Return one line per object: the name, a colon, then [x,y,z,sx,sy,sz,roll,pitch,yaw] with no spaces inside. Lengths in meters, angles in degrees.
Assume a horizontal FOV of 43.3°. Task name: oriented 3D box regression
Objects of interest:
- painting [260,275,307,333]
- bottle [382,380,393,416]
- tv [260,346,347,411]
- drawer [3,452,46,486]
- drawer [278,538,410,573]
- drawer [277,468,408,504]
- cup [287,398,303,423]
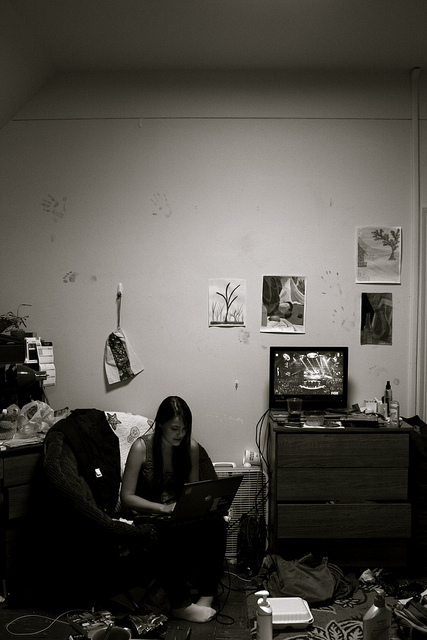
painting: [0.392,-0.093,3.008,0.246,0.394,0.014,1,36,7]
bottle: [0.954,0.416,2.940,0.051,0.174,0.242,2,-1,19]
tv: [0.510,0.315,2.916,0.406,0.335,0.082,2,0,-1]
drawer: [-0.812,0.639,2.302,0.177,0.142,0.048,3,-1,-42]
drawer: [0.634,1.127,2.611,0.637,0.163,0.034,3,0,2]
drawer: [0.625,0.798,2.618,0.629,0.173,0.038,3,0,-1]
cup: [0.418,0.456,2.752,0.081,0.134,0.086,1,-1,0]
